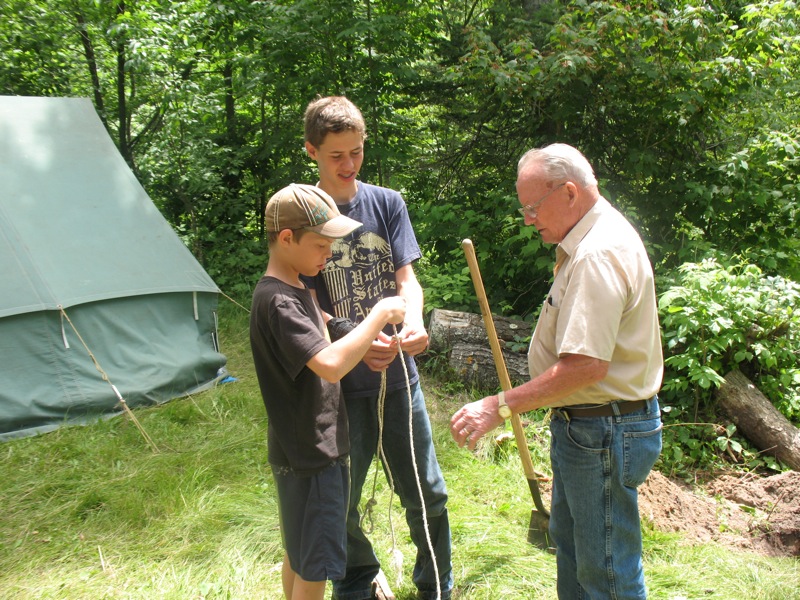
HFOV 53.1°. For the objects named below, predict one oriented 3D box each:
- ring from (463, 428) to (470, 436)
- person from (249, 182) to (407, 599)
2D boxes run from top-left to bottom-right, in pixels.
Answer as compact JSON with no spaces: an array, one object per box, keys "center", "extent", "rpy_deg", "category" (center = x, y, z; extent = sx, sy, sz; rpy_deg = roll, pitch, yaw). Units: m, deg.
[{"center":[0.412,0.832,4.971],"extent":[0.044,0.044,0.010],"rpy_deg":[-12,-2,-18],"category":"ring"},{"center":[-0.505,0.583,5.001],"extent":[0.628,2.568,0.597],"rpy_deg":[-10,14,-40],"category":"person"}]
